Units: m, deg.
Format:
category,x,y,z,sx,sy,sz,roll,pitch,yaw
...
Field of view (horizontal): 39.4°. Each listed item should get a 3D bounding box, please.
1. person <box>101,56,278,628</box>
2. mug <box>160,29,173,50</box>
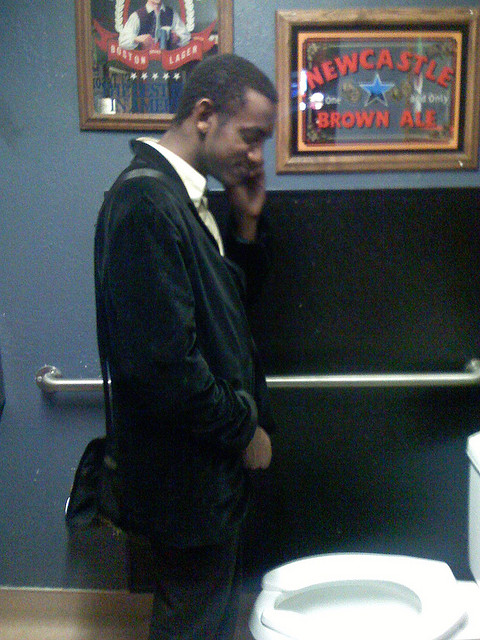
category,x,y,z,sx,sy,sz,roll,pitch,yaw
person,-0.056,0.058,1.258,0.245,1.067,0.543,2,11,14
mug,-0.168,-0.632,1.512,0.028,0.064,0.032,-1,11,-20
